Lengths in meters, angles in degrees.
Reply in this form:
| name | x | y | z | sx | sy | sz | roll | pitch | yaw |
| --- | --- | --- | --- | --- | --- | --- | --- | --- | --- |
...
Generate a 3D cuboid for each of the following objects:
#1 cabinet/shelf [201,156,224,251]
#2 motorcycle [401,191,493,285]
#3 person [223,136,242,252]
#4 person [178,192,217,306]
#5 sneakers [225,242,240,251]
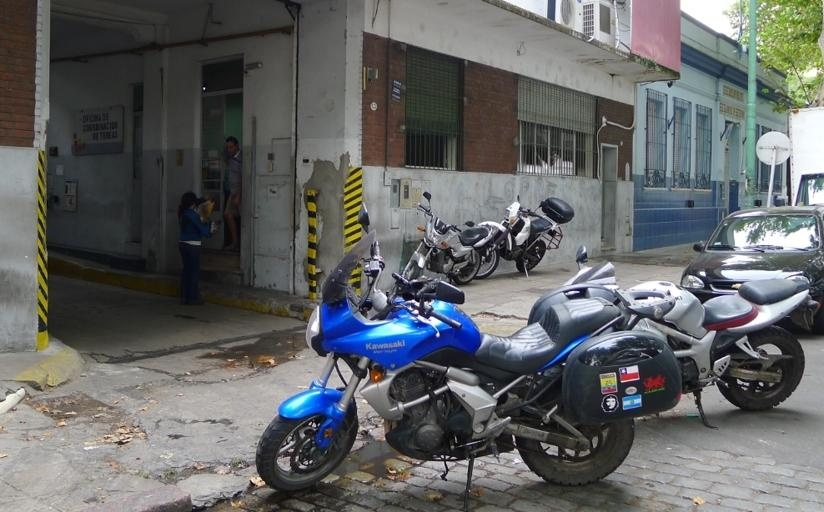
| name | x | y | z | sx | sy | sz | roll | pitch | yaw |
| --- | --- | --- | --- | --- | --- | --- | --- | --- | --- |
| cabinet/shelf | -4.548 | -1.407 | 15.130 | 0.574 | 2.539 | 0.592 | 10 | 14 | 31 |
| motorcycle | 0.796 | -0.191 | 13.462 | 0.868 | 1.909 | 2.659 | 30 | 24 | 36 |
| person | -4.009 | -1.367 | 14.382 | 0.402 | 2.500 | 0.857 | -2 | 12 | -17 |
| person | -4.315 | -0.172 | 12.858 | 0.634 | 2.116 | 1.049 | -3 | 12 | -18 |
| sneakers | -4.025 | -0.193 | 14.582 | 0.506 | 0.231 | 0.178 | 9 | 9 | 41 |
